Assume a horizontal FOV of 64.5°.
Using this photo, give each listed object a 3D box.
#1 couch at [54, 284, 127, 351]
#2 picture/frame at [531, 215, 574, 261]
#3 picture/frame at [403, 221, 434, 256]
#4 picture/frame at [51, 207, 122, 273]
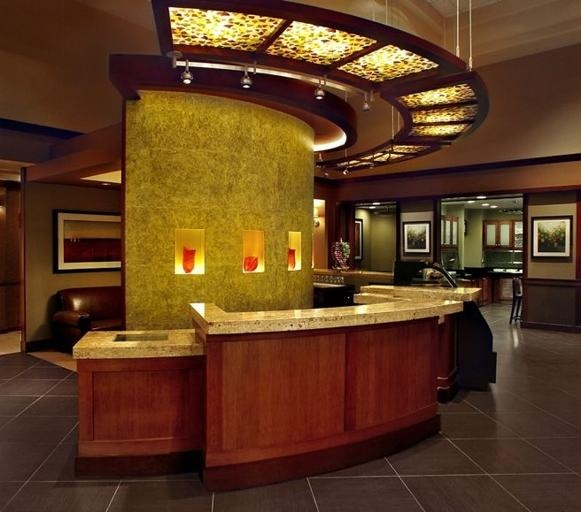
[{"bbox_3d":[-3.107,0.929,6.987,0.753,0.931,1.321,-4,-3,38],"label":"couch"},{"bbox_3d":[5.438,-0.397,9.478,0.058,1.126,0.927,-2,3,-44],"label":"picture/frame"},{"bbox_3d":[3.155,-0.460,11.257,0.853,0.991,0.049,-1,-4,44],"label":"picture/frame"},{"bbox_3d":[-3.851,-0.330,8.535,0.082,0.942,1.274,-2,-2,34],"label":"picture/frame"}]
